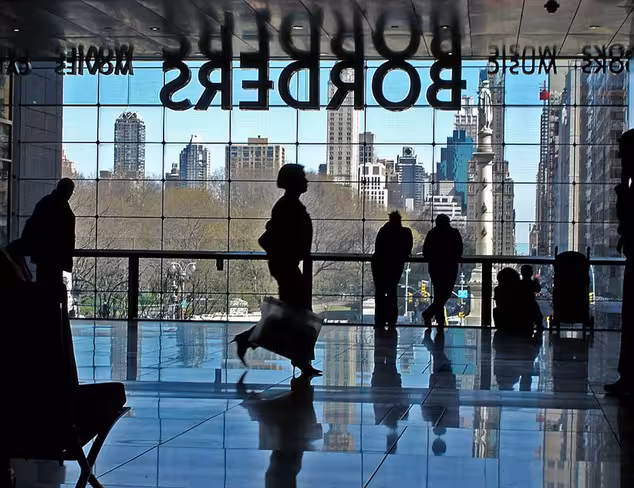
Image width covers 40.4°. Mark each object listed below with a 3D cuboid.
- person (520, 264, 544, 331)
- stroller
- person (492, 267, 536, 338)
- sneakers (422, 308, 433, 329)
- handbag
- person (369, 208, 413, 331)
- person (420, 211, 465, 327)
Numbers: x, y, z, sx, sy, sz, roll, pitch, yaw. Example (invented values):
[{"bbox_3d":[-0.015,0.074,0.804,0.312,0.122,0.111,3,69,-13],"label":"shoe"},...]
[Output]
[{"bbox_3d":[2.652,0.633,10.638,0.279,0.773,1.090,2,4,14],"label":"person"},{"bbox_3d":[3.023,0.570,10.200,0.488,0.971,0.459,2,4,20],"label":"stroller"},{"bbox_3d":[2.360,0.709,10.415,0.439,0.838,0.750,0,-10,6],"label":"person"},{"bbox_3d":[1.387,0.934,10.875,0.119,0.224,0.244,2,4,7],"label":"sneakers"},{"bbox_3d":[-0.288,0.762,7.616,0.597,0.484,0.297,20,16,-11],"label":"handbag"},{"bbox_3d":[0.939,0.315,10.990,0.511,1.472,0.509,1,3,4],"label":"person"},{"bbox_3d":[1.575,0.328,10.945,0.487,1.418,0.392,2,3,9],"label":"person"}]
